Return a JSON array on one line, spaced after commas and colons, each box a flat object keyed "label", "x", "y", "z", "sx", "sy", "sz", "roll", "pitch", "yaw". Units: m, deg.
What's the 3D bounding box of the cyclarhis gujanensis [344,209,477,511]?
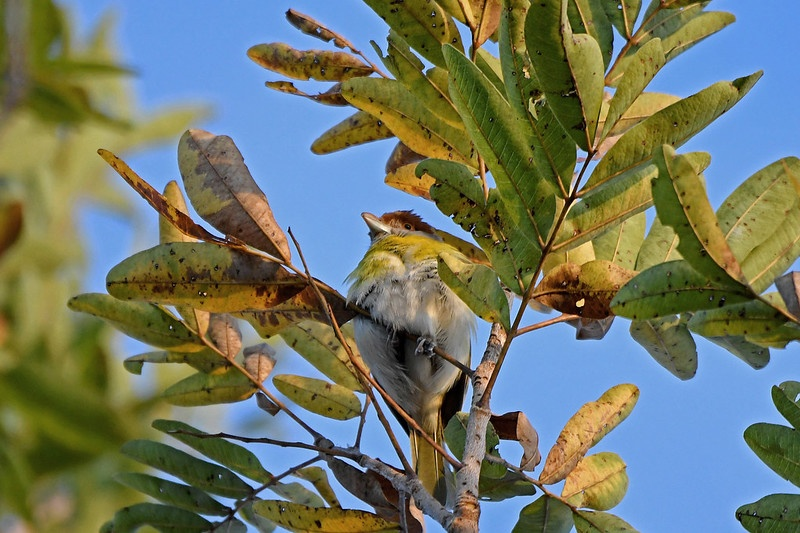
[{"label": "cyclarhis gujanensis", "x": 0.069, "y": 0.377, "z": 8.604, "sx": 0.612, "sy": 0.980, "sz": 1.652, "roll": -14, "pitch": -72, "yaw": 2}]
